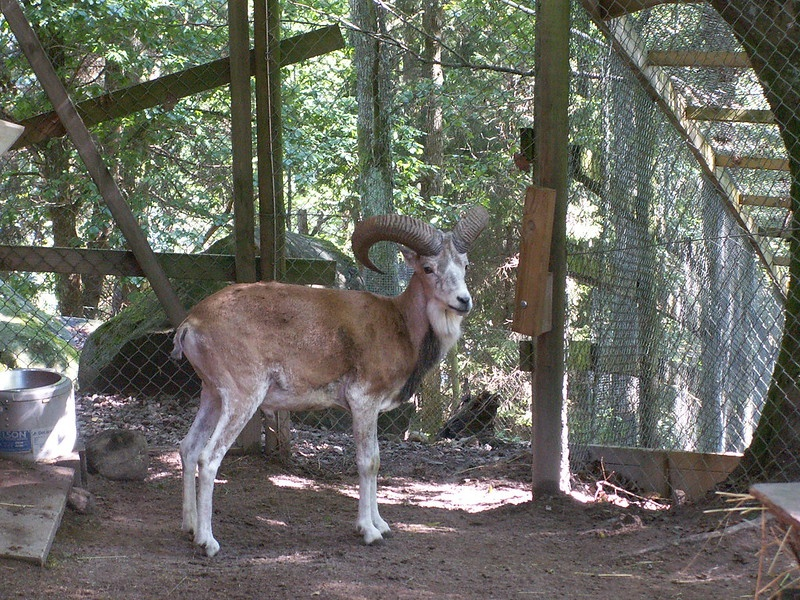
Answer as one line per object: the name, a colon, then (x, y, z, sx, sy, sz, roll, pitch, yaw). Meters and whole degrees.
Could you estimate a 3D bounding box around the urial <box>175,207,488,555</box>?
urial: (-0.672, 0.737, 9.362, 2.081, 2.668, 1.178, 4, -11, -20)
